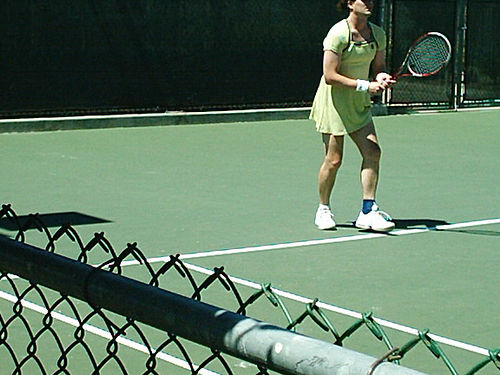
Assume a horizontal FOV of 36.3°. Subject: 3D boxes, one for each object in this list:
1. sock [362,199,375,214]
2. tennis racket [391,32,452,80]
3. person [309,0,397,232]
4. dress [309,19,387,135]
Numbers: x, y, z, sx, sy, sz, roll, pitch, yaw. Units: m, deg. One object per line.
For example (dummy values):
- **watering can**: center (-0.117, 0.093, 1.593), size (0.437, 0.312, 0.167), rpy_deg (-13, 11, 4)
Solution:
- **sock**: center (1.178, 0.192, 7.641), size (0.104, 0.141, 0.122), rpy_deg (2, -2, -31)
- **tennis racket**: center (1.775, -1.345, 7.792), size (0.501, 0.442, 0.520), rpy_deg (1, 13, 2)
- **person**: center (1.000, -0.665, 7.521), size (0.803, 2.280, 0.615), rpy_deg (1, 11, 5)
- **dress**: center (0.960, -1.072, 7.497), size (0.718, 1.108, 0.412), rpy_deg (1, 11, 6)
